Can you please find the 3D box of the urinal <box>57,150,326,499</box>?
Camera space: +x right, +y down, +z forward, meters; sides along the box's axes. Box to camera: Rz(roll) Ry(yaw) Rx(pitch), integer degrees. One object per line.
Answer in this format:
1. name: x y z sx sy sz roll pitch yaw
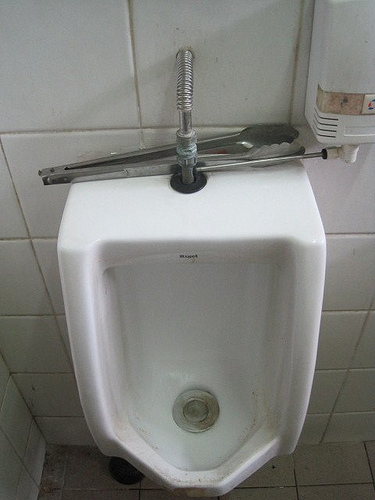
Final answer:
1. urinal: 0.001 0.177 0.773 0.353 0.592 0.427 0 41 5
